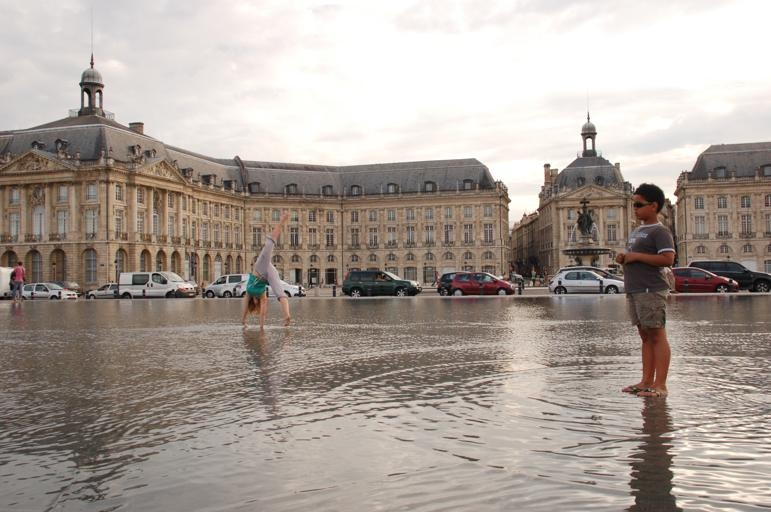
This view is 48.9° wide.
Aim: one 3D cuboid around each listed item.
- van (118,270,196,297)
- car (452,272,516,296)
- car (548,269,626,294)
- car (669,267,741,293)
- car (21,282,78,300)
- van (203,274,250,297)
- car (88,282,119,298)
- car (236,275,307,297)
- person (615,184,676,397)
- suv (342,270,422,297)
[{"bbox_3d":[-13.422,1.727,49.266,3.523,1.108,1.804,-2,-3,3],"label":"van"},{"bbox_3d":[4.796,1.363,42.193,2.455,0.867,1.328,-2,-1,14],"label":"car"},{"bbox_3d":[10.279,1.329,43.423,3.531,1.227,0.890,-4,-2,35],"label":"car"},{"bbox_3d":[14.560,1.149,38.328,3.436,1.222,1.774,-1,2,6],"label":"car"},{"bbox_3d":[-20.334,2.150,50.448,2.647,0.786,1.230,-1,-1,3],"label":"car"},{"bbox_3d":[-8.936,1.676,47.186,2.542,1.103,1.375,1,-1,23],"label":"van"},{"bbox_3d":[-16.673,2.073,49.993,1.752,0.593,1.027,2,1,17],"label":"car"},{"bbox_3d":[-6.448,1.840,46.236,3.800,1.450,1.863,-2,-1,5],"label":"car"},{"bbox_3d":[3.396,0.420,10.939,0.710,2.708,1.104,-4,-2,17],"label":"person"},{"bbox_3d":[-0.269,1.497,44.942,3.367,1.184,1.649,-1,-1,9],"label":"suv"}]
